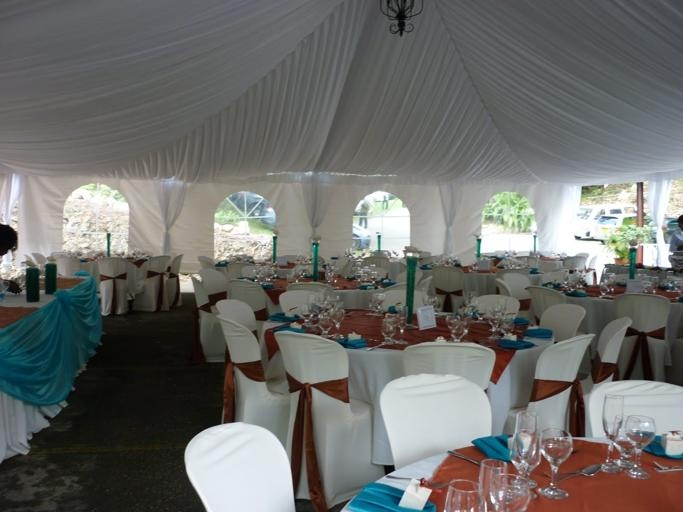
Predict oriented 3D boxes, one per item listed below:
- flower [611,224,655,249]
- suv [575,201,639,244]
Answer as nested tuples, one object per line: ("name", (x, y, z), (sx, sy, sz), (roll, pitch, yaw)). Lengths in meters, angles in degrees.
("flower", (7.848, -0.494, 12.098), (1.055, 0.582, 1.039), (-5, -2, -19))
("suv", (10.551, -1.429, 18.848), (1.709, 1.435, 2.869), (-2, 10, -8))
